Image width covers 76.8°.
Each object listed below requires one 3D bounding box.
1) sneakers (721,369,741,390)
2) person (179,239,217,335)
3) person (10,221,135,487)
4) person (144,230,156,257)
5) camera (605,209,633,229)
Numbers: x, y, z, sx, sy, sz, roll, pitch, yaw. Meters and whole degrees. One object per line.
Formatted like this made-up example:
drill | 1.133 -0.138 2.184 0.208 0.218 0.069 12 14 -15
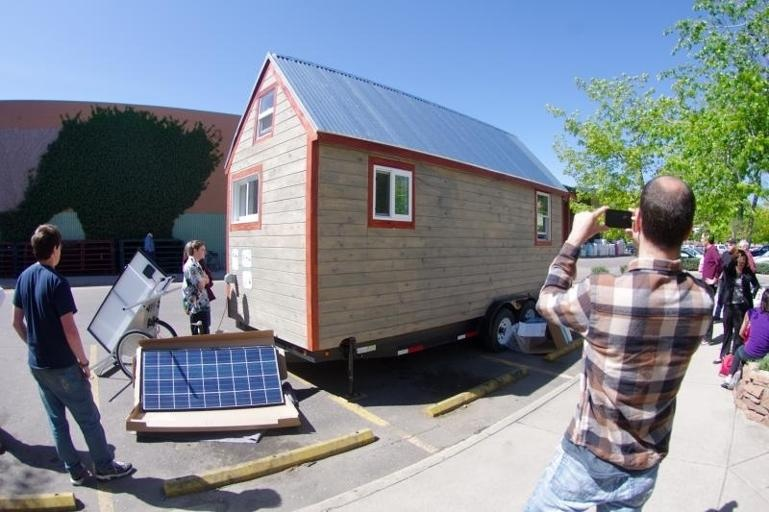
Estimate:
sneakers | 5.618 2.004 7.879 0.130 0.181 0.402 -2 27 42
person | -3.370 0.646 8.874 0.539 1.831 1.555 -6 11 -23
person | -3.849 1.224 5.938 1.150 3.156 0.603 4 11 28
person | -10.121 -0.481 21.008 0.476 1.026 2.723 -6 12 -25
camera | 2.311 -0.365 4.755 0.286 0.213 0.069 3 2 2
